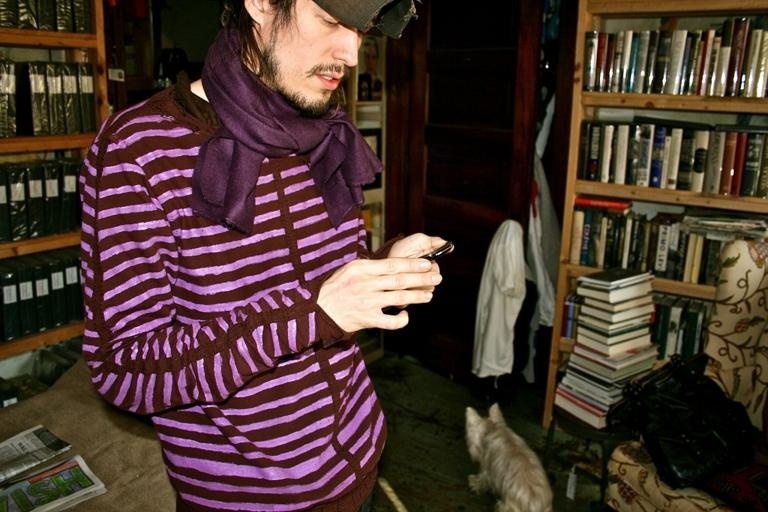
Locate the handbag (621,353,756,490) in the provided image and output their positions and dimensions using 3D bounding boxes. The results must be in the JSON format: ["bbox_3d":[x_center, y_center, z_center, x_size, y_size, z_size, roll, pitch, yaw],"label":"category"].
[{"bbox_3d":[1.371,0.768,2.887,0.522,0.193,0.517,-23,60,-9],"label":"handbag"}]
